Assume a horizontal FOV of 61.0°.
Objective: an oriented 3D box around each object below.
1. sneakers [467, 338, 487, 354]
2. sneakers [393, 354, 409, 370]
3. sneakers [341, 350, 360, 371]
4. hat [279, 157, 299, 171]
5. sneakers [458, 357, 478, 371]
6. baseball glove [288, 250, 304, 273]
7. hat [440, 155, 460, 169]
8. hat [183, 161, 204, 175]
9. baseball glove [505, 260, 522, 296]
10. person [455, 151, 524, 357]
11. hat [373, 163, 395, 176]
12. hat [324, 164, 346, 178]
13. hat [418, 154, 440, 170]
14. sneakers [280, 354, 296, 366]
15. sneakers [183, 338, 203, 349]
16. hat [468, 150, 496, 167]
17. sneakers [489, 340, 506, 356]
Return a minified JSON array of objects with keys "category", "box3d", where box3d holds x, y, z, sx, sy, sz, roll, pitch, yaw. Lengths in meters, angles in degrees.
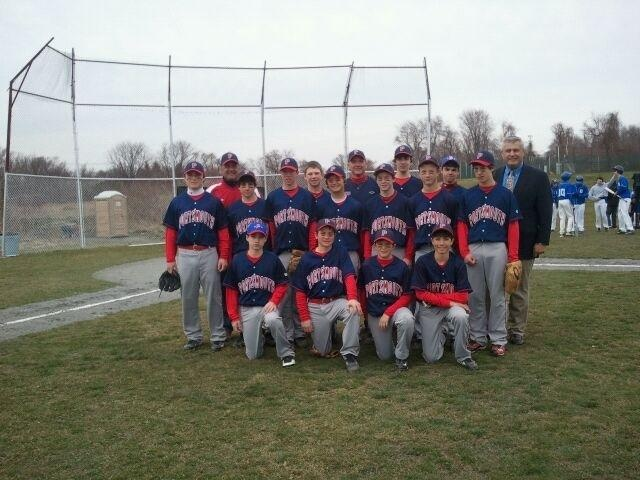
[{"category":"sneakers","box3d":[2.046,1.404,7.108,0.281,0.123,0.110,7,-8,-24]},{"category":"sneakers","box3d":[0.989,1.492,6.623,0.125,0.156,0.166,0,0,9]},{"category":"sneakers","box3d":[0.365,1.490,6.639,0.222,0.192,0.174,-1,12,1]},{"category":"hat","box3d":[-0.436,-0.926,7.489,0.227,0.202,0.325,-1,12,0]},{"category":"sneakers","box3d":[1.771,1.488,6.544,0.096,0.099,0.224,-4,-6,-19]},{"category":"baseball glove","box3d":[-0.357,0.332,7.492,0.102,0.262,0.264,17,20,20]},{"category":"hat","box3d":[1.690,-0.906,7.128,0.207,0.160,0.341,3,-9,8]},{"category":"hat","box3d":[-1.722,-0.878,7.382,0.236,0.176,0.255,-5,12,-18]},{"category":"baseball glove","box3d":[2.403,0.514,6.801,0.191,0.394,0.164,1,12,11]},{"category":"person","box3d":[2.123,0.236,6.900,0.767,2.443,0.666,2,12,15]},{"category":"hat","box3d":[0.862,-0.835,7.195,0.280,0.180,0.394,-2,12,-2]},{"category":"hat","box3d":[0.184,-0.838,7.409,0.259,0.169,0.311,-2,12,-3]},{"category":"hat","box3d":[1.404,-0.915,7.042,0.240,0.142,0.258,1,12,10]},{"category":"sneakers","box3d":[-0.404,1.515,6.826,0.184,0.130,0.233,-2,12,-5]},{"category":"sneakers","box3d":[-1.734,1.405,7.278,0.095,0.119,0.263,0,-17,3]},{"category":"hat","box3d":[2.098,-0.942,7.023,0.282,0.200,0.376,2,12,16]},{"category":"sneakers","box3d":[2.239,1.379,6.846,0.125,0.159,0.351,-3,-9,24]}]
